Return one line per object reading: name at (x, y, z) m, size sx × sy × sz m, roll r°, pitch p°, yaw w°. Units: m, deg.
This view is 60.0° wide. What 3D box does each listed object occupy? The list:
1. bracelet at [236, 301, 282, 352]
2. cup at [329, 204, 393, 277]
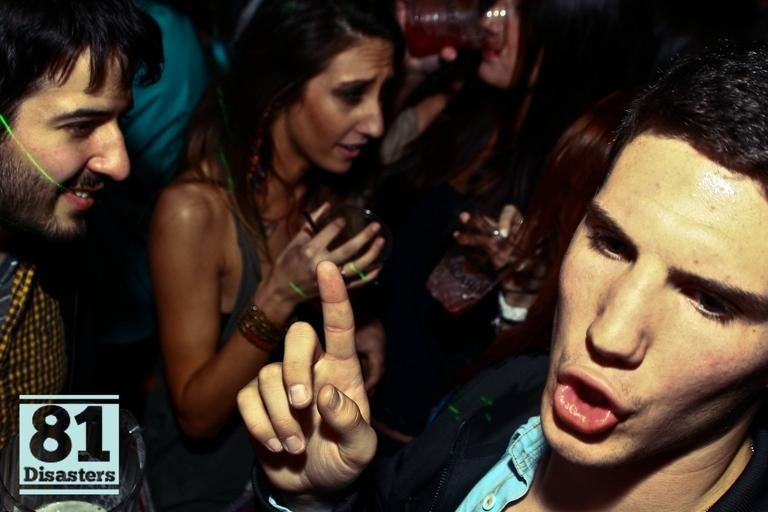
bracelet at (-0.510, 0.290, 3.035) m, size 0.266 × 0.176 × 0.269 m, roll 10°, pitch 16°, yaw -7°
cup at (-0.116, -0.125, 3.142) m, size 0.283 × 0.184 × 0.283 m, roll 34°, pitch 28°, yaw -21°
